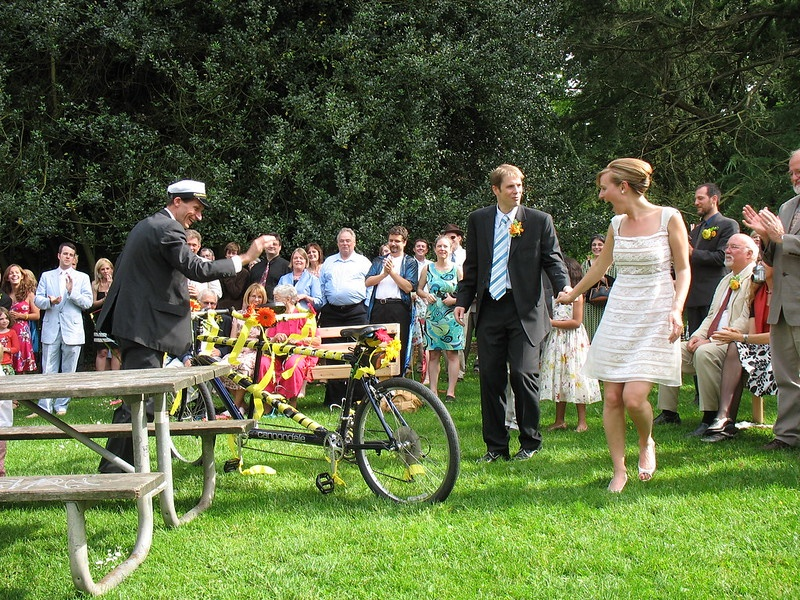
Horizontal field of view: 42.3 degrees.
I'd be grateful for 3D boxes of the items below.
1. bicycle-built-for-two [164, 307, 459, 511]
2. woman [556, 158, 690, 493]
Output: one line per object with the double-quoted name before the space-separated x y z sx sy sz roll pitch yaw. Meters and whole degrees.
"bicycle-built-for-two" -0.562 1.079 11.012 2.931 1.482 1.668 -3 -4 30
"woman" 2.390 0.217 10.423 1.062 3.223 0.546 -2 -1 11
